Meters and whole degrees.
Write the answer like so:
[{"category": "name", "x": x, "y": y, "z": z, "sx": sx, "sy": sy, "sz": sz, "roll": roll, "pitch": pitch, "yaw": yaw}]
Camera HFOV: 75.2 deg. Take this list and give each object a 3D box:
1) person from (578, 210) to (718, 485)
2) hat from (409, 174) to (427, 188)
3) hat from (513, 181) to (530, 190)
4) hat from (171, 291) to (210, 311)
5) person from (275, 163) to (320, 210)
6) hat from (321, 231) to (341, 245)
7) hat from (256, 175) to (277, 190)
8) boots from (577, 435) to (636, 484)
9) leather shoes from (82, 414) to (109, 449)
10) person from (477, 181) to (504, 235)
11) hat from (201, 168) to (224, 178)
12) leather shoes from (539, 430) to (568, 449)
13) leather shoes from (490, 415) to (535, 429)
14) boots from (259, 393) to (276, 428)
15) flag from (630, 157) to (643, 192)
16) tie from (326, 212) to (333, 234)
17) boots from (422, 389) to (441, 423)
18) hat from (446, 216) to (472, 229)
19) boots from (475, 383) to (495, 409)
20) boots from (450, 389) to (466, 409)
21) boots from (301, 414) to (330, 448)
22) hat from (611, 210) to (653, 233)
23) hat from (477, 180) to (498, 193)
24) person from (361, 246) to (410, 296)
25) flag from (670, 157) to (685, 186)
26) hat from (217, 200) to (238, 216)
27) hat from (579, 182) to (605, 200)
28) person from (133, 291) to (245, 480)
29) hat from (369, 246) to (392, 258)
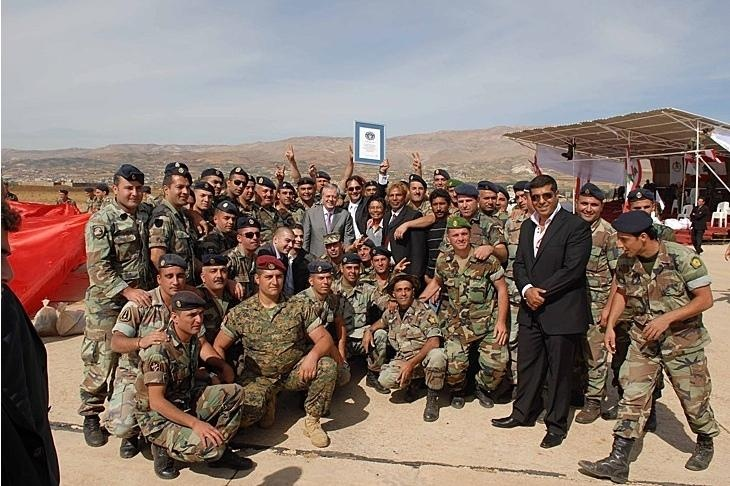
[{"category": "person", "x": 2.903, "y": 1.011, "z": 4.827, "sx": 1.195, "sy": 2.650, "sz": 0.755, "roll": -2, "pitch": 11, "yaw": -7}, {"category": "hat", "x": 0.854, "y": -1.020, "z": 7.708, "sx": 0.287, "sy": 0.101, "sz": 0.224, "roll": 16, "pitch": -5, "yaw": -21}, {"category": "hat", "x": 2.861, "y": -1.046, "z": 8.640, "sx": 0.325, "sy": 0.152, "sz": 0.428, "roll": 4, "pitch": 13, "yaw": 28}, {"category": "hat", "x": -1.827, "y": 0.585, "z": 4.772, "sx": 0.319, "sy": 0.189, "sz": 0.167, "roll": 0, "pitch": 11, "yaw": 4}, {"category": "person", "x": -1.328, "y": -1.036, "z": 9.004, "sx": 0.842, "sy": 0.409, "sz": 1.008, "roll": 2, "pitch": -10, "yaw": -10}, {"category": "hat", "x": -0.512, "y": -0.058, "z": 7.086, "sx": 0.221, "sy": 0.156, "sz": 0.193, "roll": 1, "pitch": 10, "yaw": 10}, {"category": "hat", "x": -1.728, "y": -1.016, "z": 7.921, "sx": 0.334, "sy": 0.118, "sz": 0.254, "roll": 17, "pitch": 5, "yaw": 27}, {"category": "boots", "x": 2.471, "y": 2.141, "z": 4.735, "sx": 0.607, "sy": 0.456, "sz": 0.259, "roll": -1, "pitch": 11, "yaw": -5}, {"category": "leather shoes", "x": -3.065, "y": 2.100, "z": 5.261, "sx": 0.179, "sy": 0.250, "sz": 0.459, "roll": 4, "pitch": -3, "yaw": -36}, {"category": "person", "x": 1.975, "y": -0.601, "z": 7.486, "sx": 0.529, "sy": 0.664, "sz": 0.455, "roll": 3, "pitch": -4, "yaw": -11}, {"category": "hat", "x": -2.425, "y": -1.076, "z": 7.280, "sx": 0.292, "sy": 0.116, "sz": 0.219, "roll": -8, "pitch": -12, "yaw": 36}, {"category": "leather shoes", "x": 2.135, "y": 2.167, "z": 5.292, "sx": 0.411, "sy": 0.153, "sz": 0.128, "roll": -4, "pitch": 11, "yaw": -22}, {"category": "leather shoes", "x": 1.724, "y": 2.127, "z": 5.669, "sx": 0.570, "sy": 0.150, "sz": 0.175, "roll": 5, "pitch": -17, "yaw": 1}, {"category": "boots", "x": -1.190, "y": 1.977, "z": 5.531, "sx": 0.151, "sy": 0.425, "sz": 0.339, "roll": 1, "pitch": 11, "yaw": 6}, {"category": "flag", "x": 13.322, "y": -3.414, "z": 23.176, "sx": 0.570, "sy": 1.380, "sz": 0.687, "roll": 5, "pitch": 12, "yaw": 28}, {"category": "tie", "x": -0.642, "y": -0.348, "z": 8.178, "sx": 0.121, "sy": 0.322, "sz": 0.126, "roll": -2, "pitch": 11, "yaw": -5}, {"category": "boots", "x": 0.835, "y": 2.022, "z": 5.965, "sx": 0.160, "sy": 0.163, "sz": 0.441, "roll": 1, "pitch": 11, "yaw": 9}, {"category": "hat", "x": 1.174, "y": -0.255, "z": 5.959, "sx": 0.279, "sy": 0.137, "sz": 0.210, "roll": 1, "pitch": 10, "yaw": 8}, {"category": "boots", "x": 1.562, "y": 2.029, "z": 6.234, "sx": 0.161, "sy": 0.185, "sz": 0.318, "roll": -7, "pitch": 10, "yaw": -16}, {"category": "boots", "x": 1.217, "y": 2.060, "z": 6.259, "sx": 0.121, "sy": 0.121, "sz": 0.309, "roll": -1, "pitch": -7, "yaw": 7}, {"category": "boots", "x": -0.577, "y": 2.091, "z": 5.368, "sx": 0.213, "sy": 0.277, "sz": 0.482, "roll": -4, "pitch": 6, "yaw": -30}, {"category": "hat", "x": 2.701, "y": -0.210, "z": 4.750, "sx": 0.352, "sy": 0.228, "sz": 0.249, "roll": 5, "pitch": 11, "yaw": 26}, {"category": "hat", "x": 1.891, "y": -0.880, "z": 7.397, "sx": 0.248, "sy": 0.098, "sz": 0.292, "roll": 4, "pitch": 8, "yaw": -7}, {"category": "person", "x": 0.254, "y": 0.388, "z": 6.959, "sx": 0.861, "sy": 0.662, "sz": 0.415, "roll": -4, "pitch": 5, "yaw": 15}, {"category": "flag", "x": 15.523, "y": -3.589, "z": 23.451, "sx": 0.782, "sy": 1.408, "sz": 0.321, "roll": -3, "pitch": 11, "yaw": -11}, {"category": "hat", "x": -1.945, "y": -0.477, "z": 6.515, "sx": 0.270, "sy": 0.195, "sz": 0.226, "roll": -5, "pitch": 11, "yaw": -22}, {"category": "hat", "x": 2.990, "y": -0.652, "z": 6.136, "sx": 0.245, "sy": 0.115, "sz": 0.327, "roll": 13, "pitch": -6, "yaw": 43}, {"category": "person", "x": -1.831, "y": 1.405, "z": 4.839, "sx": 1.007, "sy": 1.829, "sz": 0.933, "roll": -6, "pitch": 12, "yaw": -27}, {"category": "hat", "x": 0.221, "y": 0.135, "z": 6.764, "sx": 0.250, "sy": 0.158, "sz": 0.209, "roll": -2, "pitch": 10, "yaw": -11}]
